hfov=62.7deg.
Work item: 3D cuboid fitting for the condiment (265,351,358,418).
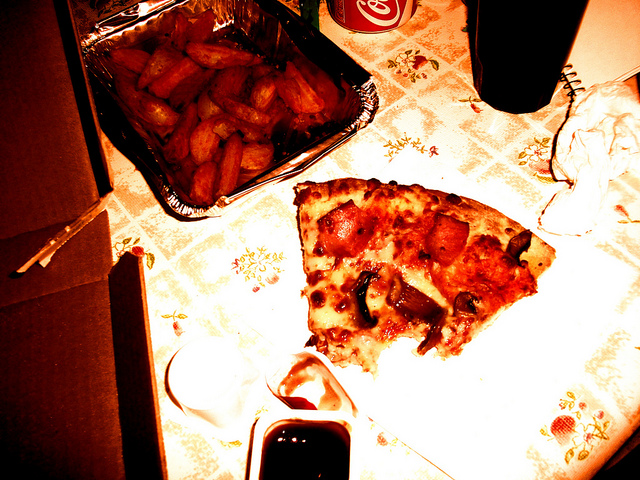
[{"bbox_3d":[-0.005,0.292,1.084,0.169,0.069,0.119,5,81,6],"label":"condiment"}]

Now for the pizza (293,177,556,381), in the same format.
[{"bbox_3d":[0.242,0.068,1.172,0.585,0.123,0.459,-3,80,4],"label":"pizza"}]
